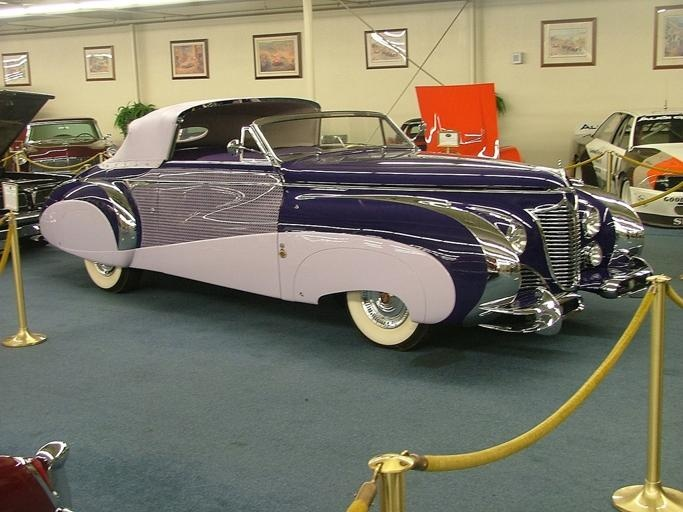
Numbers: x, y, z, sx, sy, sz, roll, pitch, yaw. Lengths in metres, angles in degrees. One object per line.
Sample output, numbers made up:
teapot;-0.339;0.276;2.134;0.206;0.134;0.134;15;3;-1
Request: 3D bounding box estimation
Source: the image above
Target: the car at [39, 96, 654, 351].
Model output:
car;-0.267;-0.488;5.001;4.977;2.099;1.948;6;14;31
